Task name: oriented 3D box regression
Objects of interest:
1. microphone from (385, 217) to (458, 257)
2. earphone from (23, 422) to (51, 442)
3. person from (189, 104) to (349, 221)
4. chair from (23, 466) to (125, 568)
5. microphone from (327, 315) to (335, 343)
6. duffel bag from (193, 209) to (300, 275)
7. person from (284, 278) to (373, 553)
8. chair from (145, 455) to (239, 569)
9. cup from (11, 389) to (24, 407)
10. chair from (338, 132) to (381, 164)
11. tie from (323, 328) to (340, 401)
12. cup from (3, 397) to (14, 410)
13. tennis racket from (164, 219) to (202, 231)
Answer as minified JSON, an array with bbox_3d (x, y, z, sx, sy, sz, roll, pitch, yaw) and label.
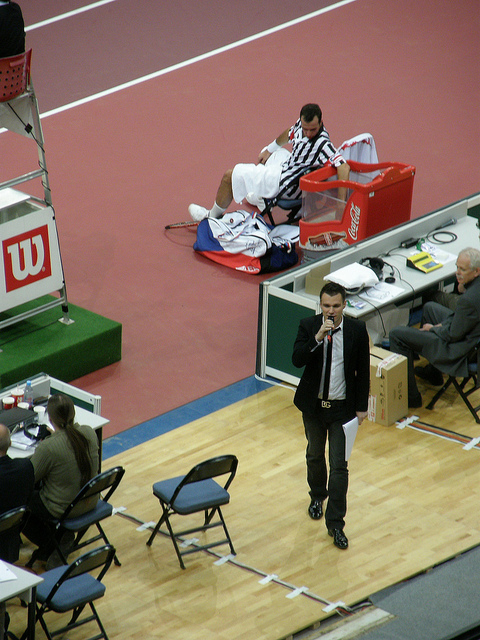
[{"bbox_3d":[1.959,-0.862,6.373,1.060,0.238,0.316,-14,22,-38],"label":"microphone"},{"bbox_3d":[-1.185,0.647,3.684,0.101,0.030,0.129,-24,35,-37],"label":"earphone"},{"bbox_3d":[0.488,-1.873,7.671,2.190,1.348,1.155,10,20,32],"label":"person"},{"bbox_3d":[-0.842,1.021,3.301,0.433,0.569,0.356,7,8,32],"label":"chair"},{"bbox_3d":[0.469,0.050,3.291,0.034,0.138,0.040,0,5,11],"label":"microphone"},{"bbox_3d":[0.059,-0.840,7.374,0.961,0.396,0.828,22,31,34],"label":"duffel bag"},{"bbox_3d":[0.502,0.501,3.556,0.406,1.512,0.477,4,18,16],"label":"person"},{"bbox_3d":[-0.256,0.983,3.468,0.396,0.598,0.476,-3,9,-31],"label":"chair"},{"bbox_3d":[-1.384,0.487,3.949,0.069,0.090,0.066,6,25,-3],"label":"cup"},{"bbox_3d":[1.371,-1.999,7.399,0.429,0.331,0.370,2,17,9],"label":"chair"},{"bbox_3d":[0.479,0.237,3.401,0.057,0.403,0.060,13,18,25],"label":"tie"},{"bbox_3d":[-1.419,0.509,3.924,0.069,0.062,0.066,6,26,-3],"label":"cup"},{"bbox_3d":[-0.728,-1.228,8.084,0.515,0.156,0.320,2,17,7],"label":"tennis racket"}]
